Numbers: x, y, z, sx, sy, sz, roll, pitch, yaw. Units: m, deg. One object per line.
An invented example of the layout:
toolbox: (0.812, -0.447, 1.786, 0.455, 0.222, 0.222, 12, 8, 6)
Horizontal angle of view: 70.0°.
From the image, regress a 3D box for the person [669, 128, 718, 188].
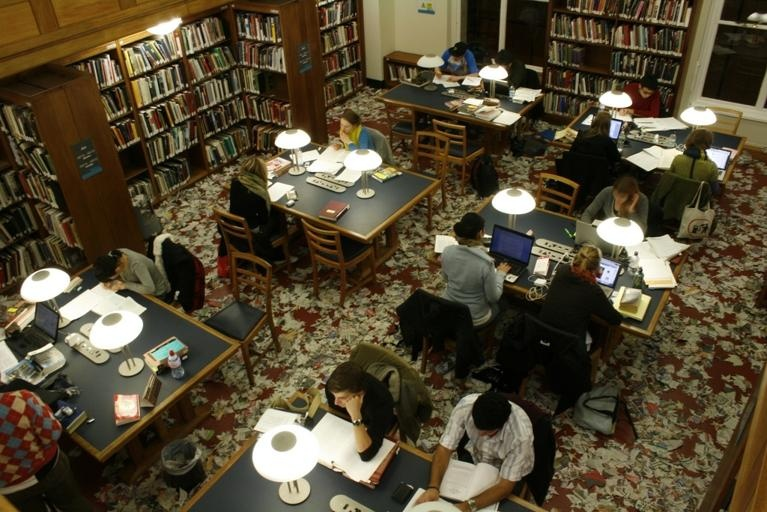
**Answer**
person: (4.199, -1.289, 7.409, 0.576, 0.859, 0.455, 26, 62, 31)

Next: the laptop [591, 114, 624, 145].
laptop: (3.206, -1.801, 7.868, 0.508, 0.354, 0.278, 34, 67, 29)

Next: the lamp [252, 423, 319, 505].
lamp: (-0.814, 1.764, 4.545, 0.466, 0.586, 0.419, -35, 61, -21)

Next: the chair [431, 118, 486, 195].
chair: (1.219, -1.739, 9.016, 0.877, 1.099, 0.748, 25, 40, 28)

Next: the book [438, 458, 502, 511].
book: (0.761, 2.009, 4.864, 0.476, 0.149, 0.353, 12, 35, 11)

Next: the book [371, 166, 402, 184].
book: (0.043, -1.201, 8.006, 0.282, 0.066, 0.294, 28, 45, 33)

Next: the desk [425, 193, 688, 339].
desk: (2.190, -0.190, 6.819, 2.514, 0.809, 1.593, 26, 58, 20)

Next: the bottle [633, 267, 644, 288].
bottle: (2.927, 0.257, 6.291, 0.092, 0.218, 0.093, -11, 43, 10)

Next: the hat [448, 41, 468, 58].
hat: (1.359, -3.748, 9.997, 0.349, 0.180, 0.268, -3, 61, -6)

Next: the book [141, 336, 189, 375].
book: (-2.331, 1.044, 5.845, 0.410, 0.120, 0.299, -33, 57, -31)

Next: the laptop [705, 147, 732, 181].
laptop: (4.560, -1.248, 7.477, 0.382, 0.234, 0.351, 31, 71, 24)

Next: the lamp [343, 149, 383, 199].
lamp: (-0.291, -1.188, 7.466, 0.637, 0.696, 0.632, -5, 43, -3)

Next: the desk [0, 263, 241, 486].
desk: (-2.609, 1.247, 5.945, 2.395, 1.137, 1.640, 32, 56, 21)

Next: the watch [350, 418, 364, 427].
watch: (-0.237, 1.487, 4.948, 0.069, 0.069, 0.073, 15, 18, 37)

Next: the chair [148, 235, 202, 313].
chair: (-2.451, 0.232, 6.897, 0.365, 0.905, 0.698, -29, 61, -26)

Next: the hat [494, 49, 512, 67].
hat: (2.087, -3.488, 9.595, 0.307, 0.344, 0.368, -5, 39, 12)

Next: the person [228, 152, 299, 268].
person: (-1.660, -0.578, 7.611, 0.633, 1.621, 0.958, 32, 51, 19)

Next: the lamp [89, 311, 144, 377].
lamp: (-2.742, 0.932, 5.596, 0.442, 0.622, 0.444, 12, 45, 9)

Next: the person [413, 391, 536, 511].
person: (0.834, 1.807, 4.968, 0.744, 0.967, 0.442, -46, 62, -1)

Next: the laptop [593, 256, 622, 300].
laptop: (2.491, 0.263, 6.110, 0.312, 0.296, 0.258, 32, 47, 31)

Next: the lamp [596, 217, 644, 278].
lamp: (2.607, -0.157, 5.936, 0.406, 0.401, 0.401, -18, 44, -9)

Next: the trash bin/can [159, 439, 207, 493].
trash bin/can: (-2.102, 2.206, 5.689, 0.371, 0.369, 0.315, 28, 49, 20)

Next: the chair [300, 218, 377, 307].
chair: (-0.586, 0.097, 7.412, 0.567, 1.014, 0.684, 25, 58, 18)

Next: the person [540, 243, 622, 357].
person: (2.131, 0.425, 5.810, 0.740, 0.950, 0.485, 21, 38, 24)

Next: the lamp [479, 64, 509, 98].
lamp: (1.874, -2.952, 9.271, 0.475, 0.618, 0.473, -6, 55, 8)

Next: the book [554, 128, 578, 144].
book: (2.824, -1.870, 8.476, 0.278, 0.102, 0.280, 26, 46, 34)

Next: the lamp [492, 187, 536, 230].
lamp: (1.568, -0.545, 6.613, 0.351, 0.481, 0.360, 25, 56, 26)

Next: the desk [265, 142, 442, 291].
desk: (-0.270, -0.813, 7.668, 1.966, 0.946, 1.509, 30, 62, 22)

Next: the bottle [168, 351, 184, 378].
bottle: (-2.200, 1.128, 5.748, 0.147, 0.295, 0.197, -14, 38, -24)

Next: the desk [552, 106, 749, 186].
desk: (3.474, -1.471, 7.752, 1.777, 0.535, 1.200, 26, 57, 23)

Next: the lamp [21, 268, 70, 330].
lamp: (-3.723, 0.501, 6.019, 0.418, 0.550, 0.417, 13, 51, 1)

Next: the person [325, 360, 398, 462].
person: (-0.212, 1.459, 5.053, 0.373, 0.721, 0.528, -43, 65, -3)

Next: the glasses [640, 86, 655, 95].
glasses: (4.181, -2.607, 8.718, 0.160, 0.204, 0.160, 3, 82, 4)

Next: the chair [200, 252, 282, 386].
chair: (-1.777, 0.835, 6.829, 0.809, 1.486, 0.780, 25, 54, 15)
